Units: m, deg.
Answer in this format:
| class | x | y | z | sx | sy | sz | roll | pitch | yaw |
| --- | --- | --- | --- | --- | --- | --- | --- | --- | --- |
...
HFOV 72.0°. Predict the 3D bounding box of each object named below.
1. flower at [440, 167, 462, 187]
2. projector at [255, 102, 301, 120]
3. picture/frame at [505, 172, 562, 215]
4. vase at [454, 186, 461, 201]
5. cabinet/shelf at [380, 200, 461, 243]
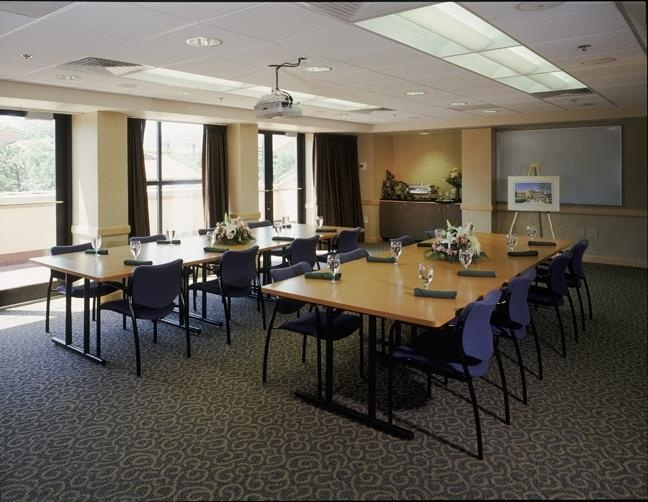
| class | x | y | z | sx | sy | sz | roll | pitch | yaw |
| --- | --- | --- | --- | --- | --- | --- | --- | --- | --- |
| flower | 3.452 | -1.905 | 11.740 | 0.605 | 0.464 | 0.589 | -5 | 5 | -38 |
| projector | -0.537 | -1.773 | 5.657 | 0.307 | 0.114 | 0.326 | -7 | 10 | -40 |
| picture/frame | 4.716 | -1.287 | 9.914 | 1.139 | 0.743 | 0.081 | 3 | 6 | 38 |
| vase | 3.498 | -1.472 | 11.653 | 0.165 | 0.377 | 0.101 | 0 | 13 | 2 |
| cabinet/shelf | 2.383 | -0.767 | 10.765 | 1.537 | 0.647 | 0.473 | 1 | 2 | 31 |
